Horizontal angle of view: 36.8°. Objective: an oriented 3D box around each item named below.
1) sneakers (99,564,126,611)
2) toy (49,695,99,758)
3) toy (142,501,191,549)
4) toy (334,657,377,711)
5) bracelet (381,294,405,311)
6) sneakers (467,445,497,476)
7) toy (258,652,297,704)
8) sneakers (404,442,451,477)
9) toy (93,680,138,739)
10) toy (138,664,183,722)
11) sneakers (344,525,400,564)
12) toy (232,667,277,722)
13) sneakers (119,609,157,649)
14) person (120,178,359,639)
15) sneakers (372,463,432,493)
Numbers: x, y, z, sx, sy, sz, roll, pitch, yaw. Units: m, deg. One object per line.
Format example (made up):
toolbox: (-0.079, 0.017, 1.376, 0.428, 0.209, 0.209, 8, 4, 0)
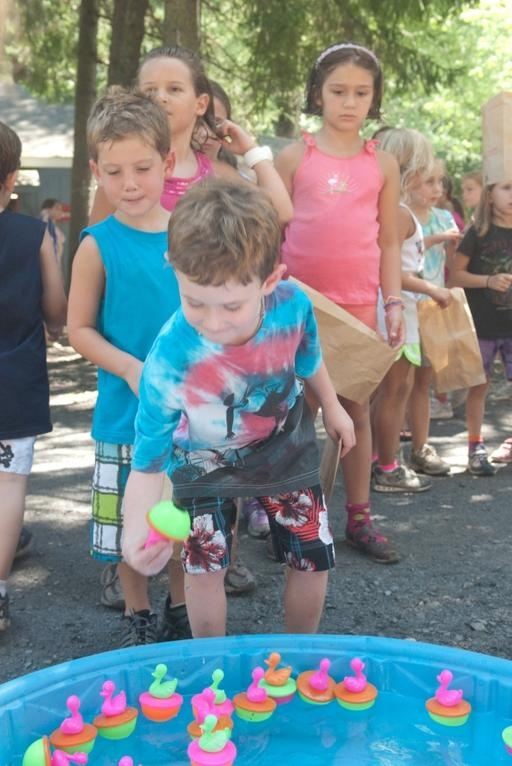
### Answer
sneakers: (-0.539, 0.758, 2.885, 0.122, 0.052, 0.187, 29, 32, -37)
toy: (-0.391, 0.731, 1.650, 0.108, 0.114, 0.101, -5, -1, -5)
toy: (-0.172, 0.275, 1.481, 0.079, 0.111, 0.161, -3, 9, -9)
toy: (0.230, 0.699, 1.801, 0.110, 0.094, 0.105, 0, 1, 2)
bracelet: (0.556, -0.328, 3.139, 0.060, 0.048, 0.072, -5, -2, 0)
sneakers: (1.316, 0.457, 4.473, 0.105, 0.104, 0.247, -1, 4, -1)
toy: (0.046, 0.691, 1.821, 0.115, 0.099, 0.106, 5, 5, 1)
sneakers: (1.008, 0.442, 4.550, 0.289, 0.153, 0.123, 14, 22, 42)
toy: (-0.323, 0.729, 1.720, 0.117, 0.118, 0.105, -2, -1, 0)
toy: (-0.221, 0.709, 1.770, 0.108, 0.118, 0.101, 3, 0, 2)
sneakers: (0.479, 0.662, 3.243, 0.103, 0.102, 0.269, -14, 15, -38)
toy: (-0.001, 0.716, 1.783, 0.116, 0.094, 0.107, 4, -2, 24)
sneakers: (-0.361, 0.747, 2.335, 0.072, 0.061, 0.155, 0, 0, -8)
person: (-0.043, 0.128, 1.821, 0.428, 1.165, 0.775, 2, 10, 16)
sneakers: (0.844, 0.521, 4.248, 0.376, 0.157, 0.134, 1, 7, -4)
